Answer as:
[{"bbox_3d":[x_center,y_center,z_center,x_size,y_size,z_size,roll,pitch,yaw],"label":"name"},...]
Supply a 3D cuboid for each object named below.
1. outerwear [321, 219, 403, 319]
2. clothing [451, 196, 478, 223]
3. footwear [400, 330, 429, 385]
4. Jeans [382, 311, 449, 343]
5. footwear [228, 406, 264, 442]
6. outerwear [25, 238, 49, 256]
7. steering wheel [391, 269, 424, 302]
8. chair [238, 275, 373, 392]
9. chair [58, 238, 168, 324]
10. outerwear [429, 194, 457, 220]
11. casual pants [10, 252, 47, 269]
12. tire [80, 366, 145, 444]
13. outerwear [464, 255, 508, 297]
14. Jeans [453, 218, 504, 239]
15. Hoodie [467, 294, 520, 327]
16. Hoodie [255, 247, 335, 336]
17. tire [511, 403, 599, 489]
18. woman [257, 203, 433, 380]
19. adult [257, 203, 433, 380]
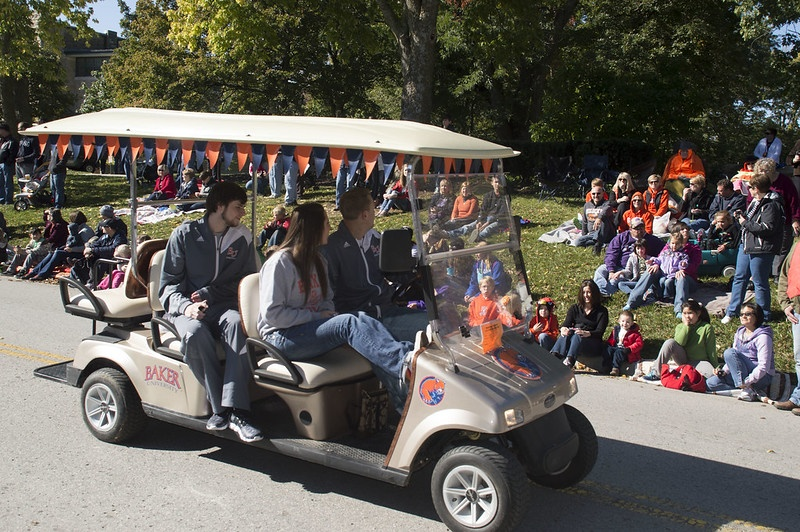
[{"bbox_3d":[-0.448,0.056,7.839,0.881,0.916,0.522,-4,12,-24],"label":"outerwear"},{"bbox_3d":[0.664,-0.577,7.499,0.194,0.209,0.302,2,6,7],"label":"clothing"},{"bbox_3d":[0.151,0.903,7.236,0.235,0.509,0.152,1,6,-24],"label":"footwear"},{"bbox_3d":[0.122,0.629,7.607,0.321,0.216,0.546,9,-9,-43],"label":"Jeans"},{"bbox_3d":[-1.663,1.667,7.724,0.482,0.212,0.199,24,26,32],"label":"footwear"},{"bbox_3d":[-7.768,-0.378,15.691,0.309,0.213,0.408,20,36,40],"label":"outerwear"},{"bbox_3d":[0.085,0.246,8.546,0.369,0.394,0.262,-5,-3,19],"label":"steering wheel"},{"bbox_3d":[-1.018,0.651,7.911,1.214,0.951,0.941,12,13,36],"label":"chair"},{"bbox_3d":[-3.568,0.131,8.979,1.252,0.938,0.865,10,11,28],"label":"chair"},{"bbox_3d":[0.416,-0.590,7.377,0.265,0.294,0.218,-10,14,-43],"label":"outerwear"},{"bbox_3d":[-7.974,-0.144,15.681,0.549,0.323,0.465,-8,13,-41],"label":"casual pants"},{"bbox_3d":[-3.385,1.603,8.507,0.772,0.840,0.280,-14,-1,28],"label":"tire"},{"bbox_3d":[0.857,0.126,7.510,0.329,0.488,0.469,4,9,31],"label":"outerwear"},{"bbox_3d":[0.821,-0.383,7.565,0.365,0.100,0.220,-17,21,-39],"label":"Jeans"},{"bbox_3d":[0.918,0.456,7.471,0.396,0.188,0.307,4,-2,-39],"label":"Hoodie"},{"bbox_3d":[-1.136,0.197,8.073,0.782,1.040,1.011,2,4,33],"label":"Hoodie"},{"bbox_3d":[1.512,1.820,7.335,0.541,0.656,0.722,-22,2,38],"label":"tire"},{"bbox_3d":[-0.608,0.242,7.767,1.849,1.707,0.900,9,11,17],"label":"woman"},{"bbox_3d":[-0.618,0.246,7.714,1.810,1.760,0.961,10,14,17],"label":"adult"}]
